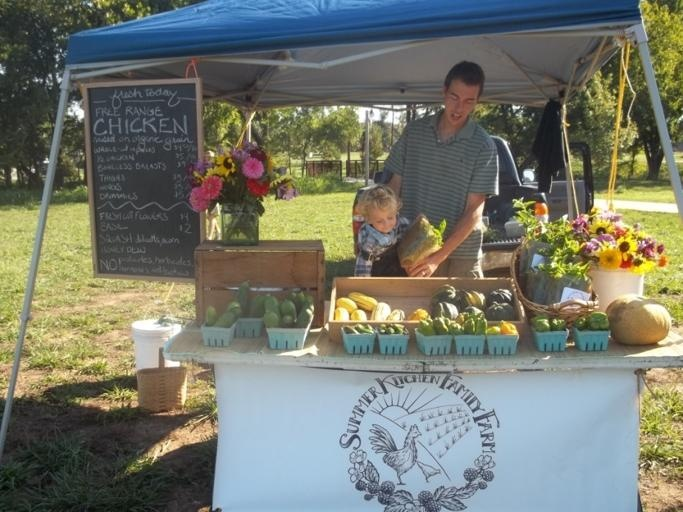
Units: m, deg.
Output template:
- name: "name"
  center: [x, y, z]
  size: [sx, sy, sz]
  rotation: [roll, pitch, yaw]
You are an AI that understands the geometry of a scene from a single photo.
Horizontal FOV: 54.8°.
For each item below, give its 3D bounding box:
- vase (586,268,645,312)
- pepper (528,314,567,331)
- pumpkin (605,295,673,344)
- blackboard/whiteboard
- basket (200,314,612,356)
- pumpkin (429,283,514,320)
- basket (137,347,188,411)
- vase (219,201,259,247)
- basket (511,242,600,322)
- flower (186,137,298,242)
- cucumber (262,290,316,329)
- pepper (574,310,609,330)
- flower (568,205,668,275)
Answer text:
- name: "vase"
  center: [1.979, 0.200, 4.799]
  size: [0.302, 0.370, 0.316]
  rotation: [0, 8, 5]
- name: "pepper"
  center: [1.360, 0.430, 4.359]
  size: [0.111, 0.080, 0.152]
  rotation: [-7, 4, -28]
- name: "pumpkin"
  center: [2.039, 0.399, 4.529]
  size: [0.354, 0.336, 0.391]
  rotation: [11, 12, 28]
- name: "blackboard/whiteboard"
  center: [-1.775, -0.667, 5.940]
  size: [1.163, 1.769, 0.147]
  rotation: [2, 9, 15]
- name: "basket"
  center: [0.524, 0.503, 4.432]
  size: [2.523, 0.251, 0.261]
  rotation: [0, 10, 1]
- name: "pumpkin"
  center: [0.918, 0.325, 4.571]
  size: [0.495, 0.224, 0.391]
  rotation: [3, 11, 12]
- name: "basket"
  center: [-1.700, 1.089, 6.272]
  size: [0.453, 0.743, 0.329]
  rotation: [-2, 14, -21]
- name: "vase"
  center: [-0.726, -0.246, 4.786]
  size: [0.245, 0.428, 0.275]
  rotation: [-1, 7, -4]
- name: "basket"
  center: [1.418, 0.232, 4.565]
  size: [0.369, 0.263, 0.709]
  rotation: [-10, 39, 10]
- name: "flower"
  center: [-0.708, -0.452, 4.811]
  size: [0.768, 0.719, 0.330]
  rotation: [-2, 9, -7]
- name: "cucumber"
  center: [-0.354, 0.382, 4.484]
  size: [0.262, 0.244, 0.229]
  rotation: [-1, 12, 0]
- name: "pepper"
  center: [1.665, 0.437, 4.395]
  size: [0.150, 0.091, 0.129]
  rotation: [-1, 16, -12]
- name: "flower"
  center: [1.917, -0.104, 4.583]
  size: [0.626, 0.406, 0.322]
  rotation: [3, 10, 15]
